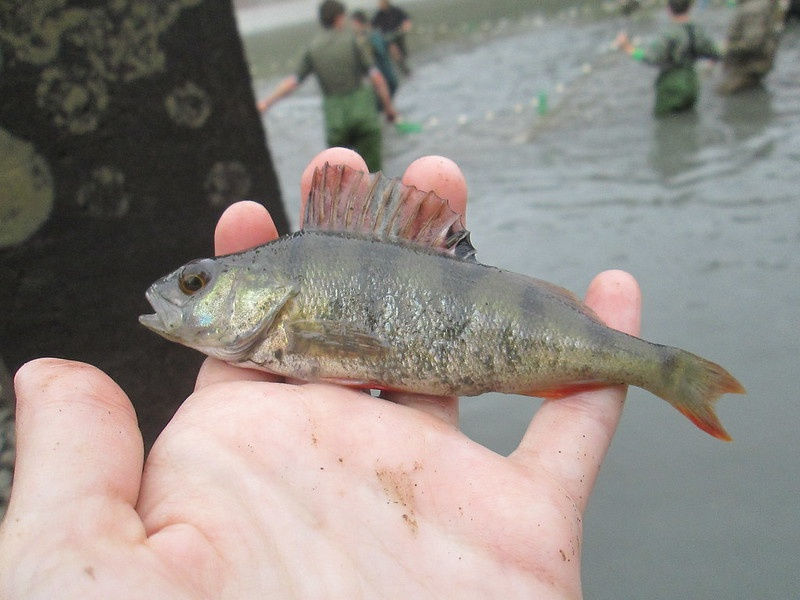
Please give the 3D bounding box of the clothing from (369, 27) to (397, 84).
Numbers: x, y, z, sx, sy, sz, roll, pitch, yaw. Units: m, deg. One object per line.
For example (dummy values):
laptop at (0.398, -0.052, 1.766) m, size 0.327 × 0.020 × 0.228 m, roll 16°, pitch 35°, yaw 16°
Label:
clothing at (-0.072, -1.056, 3.951) m, size 0.095 × 0.057 × 0.205 m, roll -21°, pitch 99°, yaw -15°

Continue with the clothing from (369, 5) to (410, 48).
clothing at (-0.049, -1.188, 4.007) m, size 0.130 × 0.076 × 0.169 m, roll -38°, pitch 111°, yaw -16°

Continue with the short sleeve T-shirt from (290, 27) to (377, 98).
short sleeve T-shirt at (-0.280, -1.002, 4.051) m, size 0.249 × 0.462 × 0.152 m, roll 13°, pitch 92°, yaw 19°
